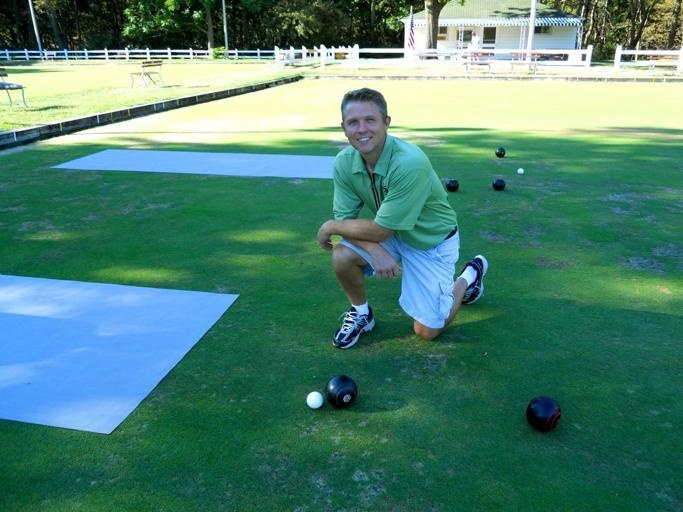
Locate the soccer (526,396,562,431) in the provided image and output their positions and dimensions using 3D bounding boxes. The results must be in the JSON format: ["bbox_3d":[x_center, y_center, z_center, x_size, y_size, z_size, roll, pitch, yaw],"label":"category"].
[{"bbox_3d":[0.989,0.771,2.346,0.187,0.153,0.186,1,-17,25],"label":"soccer"}]

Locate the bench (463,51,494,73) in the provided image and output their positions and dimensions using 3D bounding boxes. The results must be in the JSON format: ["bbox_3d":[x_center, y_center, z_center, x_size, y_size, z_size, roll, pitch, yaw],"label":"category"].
[{"bbox_3d":[7.539,-10.981,26.927,1.484,1.110,6.877,4,19,12],"label":"bench"}]

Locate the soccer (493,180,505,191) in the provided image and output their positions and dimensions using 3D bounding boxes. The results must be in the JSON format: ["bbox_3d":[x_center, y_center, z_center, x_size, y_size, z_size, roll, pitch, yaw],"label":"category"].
[{"bbox_3d":[1.929,-0.872,5.853,0.160,0.127,0.199,5,20,15],"label":"soccer"}]

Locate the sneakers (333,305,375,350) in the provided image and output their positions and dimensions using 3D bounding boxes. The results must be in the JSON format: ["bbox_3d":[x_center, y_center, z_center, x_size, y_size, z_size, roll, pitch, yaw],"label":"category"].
[{"bbox_3d":[0.071,0.456,3.100,0.170,0.148,0.333,11,29,27],"label":"sneakers"}]

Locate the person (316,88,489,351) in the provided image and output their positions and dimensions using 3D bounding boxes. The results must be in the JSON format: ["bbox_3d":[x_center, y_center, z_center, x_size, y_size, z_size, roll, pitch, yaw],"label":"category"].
[{"bbox_3d":[0.395,-0.232,3.000,1.070,1.551,0.595,-2,22,-4],"label":"person"}]

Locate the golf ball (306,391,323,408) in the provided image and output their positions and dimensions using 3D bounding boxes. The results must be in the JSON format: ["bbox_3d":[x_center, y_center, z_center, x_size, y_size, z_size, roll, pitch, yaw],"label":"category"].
[{"bbox_3d":[-0.138,0.765,2.514,0.088,0.075,0.091,-4,-18,-1],"label":"golf ball"}]

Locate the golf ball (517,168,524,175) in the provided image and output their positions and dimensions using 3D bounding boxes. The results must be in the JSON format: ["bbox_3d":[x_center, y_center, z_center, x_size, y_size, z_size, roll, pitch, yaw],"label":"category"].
[{"bbox_3d":[2.454,-1.155,6.511,0.102,0.085,0.117,-4,3,5],"label":"golf ball"}]

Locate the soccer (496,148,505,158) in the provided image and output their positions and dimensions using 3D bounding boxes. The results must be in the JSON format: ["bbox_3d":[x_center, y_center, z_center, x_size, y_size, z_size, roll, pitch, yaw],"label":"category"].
[{"bbox_3d":[2.480,-1.609,7.447,0.151,0.126,0.284,6,20,15],"label":"soccer"}]

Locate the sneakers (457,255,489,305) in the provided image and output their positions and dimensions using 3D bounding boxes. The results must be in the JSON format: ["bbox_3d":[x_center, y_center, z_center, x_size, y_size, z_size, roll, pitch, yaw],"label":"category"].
[{"bbox_3d":[0.946,0.163,3.411,0.164,0.178,0.459,-6,30,42],"label":"sneakers"}]
